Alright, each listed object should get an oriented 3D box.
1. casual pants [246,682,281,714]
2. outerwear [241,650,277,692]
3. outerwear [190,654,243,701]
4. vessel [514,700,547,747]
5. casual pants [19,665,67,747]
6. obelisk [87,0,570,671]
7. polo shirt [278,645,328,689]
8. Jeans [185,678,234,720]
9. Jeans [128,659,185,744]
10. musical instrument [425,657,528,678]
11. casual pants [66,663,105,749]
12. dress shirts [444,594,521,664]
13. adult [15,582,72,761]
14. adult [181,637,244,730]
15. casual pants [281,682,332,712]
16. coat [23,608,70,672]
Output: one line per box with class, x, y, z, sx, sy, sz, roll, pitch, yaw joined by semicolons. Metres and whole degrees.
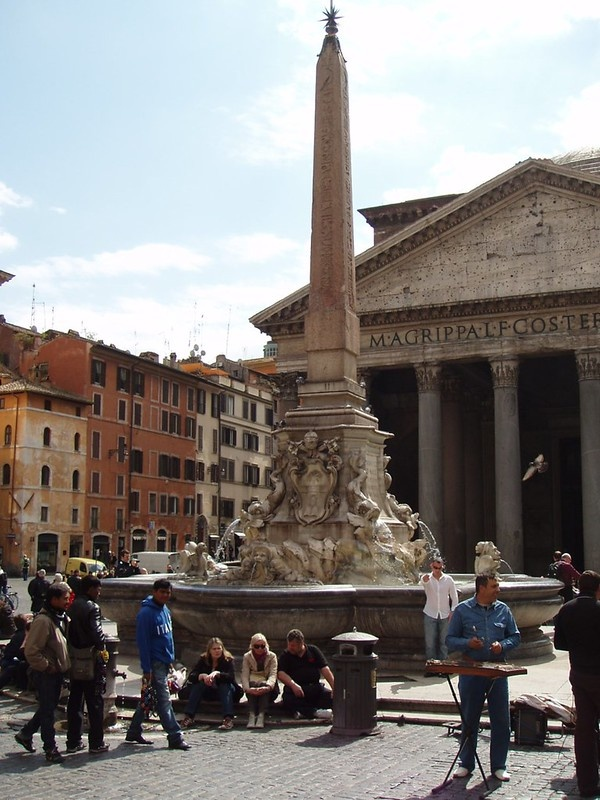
casual pants;-0.309;2.477;7.155;0.257;0.265;0.344;-1;-7;-3
outerwear;-0.336;2.254;7.148;0.250;0.335;0.332;-1;-46;2
outerwear;-0.708;2.277;7.241;0.388;0.480;0.483;-10;-25;20
vessel;1.644;2.304;6.149;0.307;0.309;0.232;2;-7;-8
casual pants;-1.773;2.168;6.015;0.366;0.562;0.213;-10;-21;30
obelisk;0.136;-1.261;11.129;4.012;9.285;4.683;-6;-8;36
polo shirt;0.009;2.280;7.447;0.528;0.435;0.272;-2;-28;-8
Jeans;-0.709;2.456;7.152;0.273;0.194;0.441;-1;-5;7
Jeans;-1.006;2.192;6.283;0.552;0.558;0.255;-6;-8;38
musical instrument;1.019;1.571;5.009;0.542;0.085;0.256;-2;-6;6
casual pants;-1.544;2.193;6.207;0.248;0.691;0.163;-6;-43;-11
dress shirts;1.142;1.437;5.339;0.443;0.425;0.261;6;-13;-2
adult;-1.819;1.934;6.153;0.390;1.210;0.358;2;-9;-14
adult;-0.614;2.461;7.316;0.405;0.659;0.662;-3;-29;3
casual pants;0.057;2.484;7.215;0.292;0.136;0.322;6;-10;6
coat;-1.775;1.741;6.219;0.243;0.454;0.493;-8;-22;10
